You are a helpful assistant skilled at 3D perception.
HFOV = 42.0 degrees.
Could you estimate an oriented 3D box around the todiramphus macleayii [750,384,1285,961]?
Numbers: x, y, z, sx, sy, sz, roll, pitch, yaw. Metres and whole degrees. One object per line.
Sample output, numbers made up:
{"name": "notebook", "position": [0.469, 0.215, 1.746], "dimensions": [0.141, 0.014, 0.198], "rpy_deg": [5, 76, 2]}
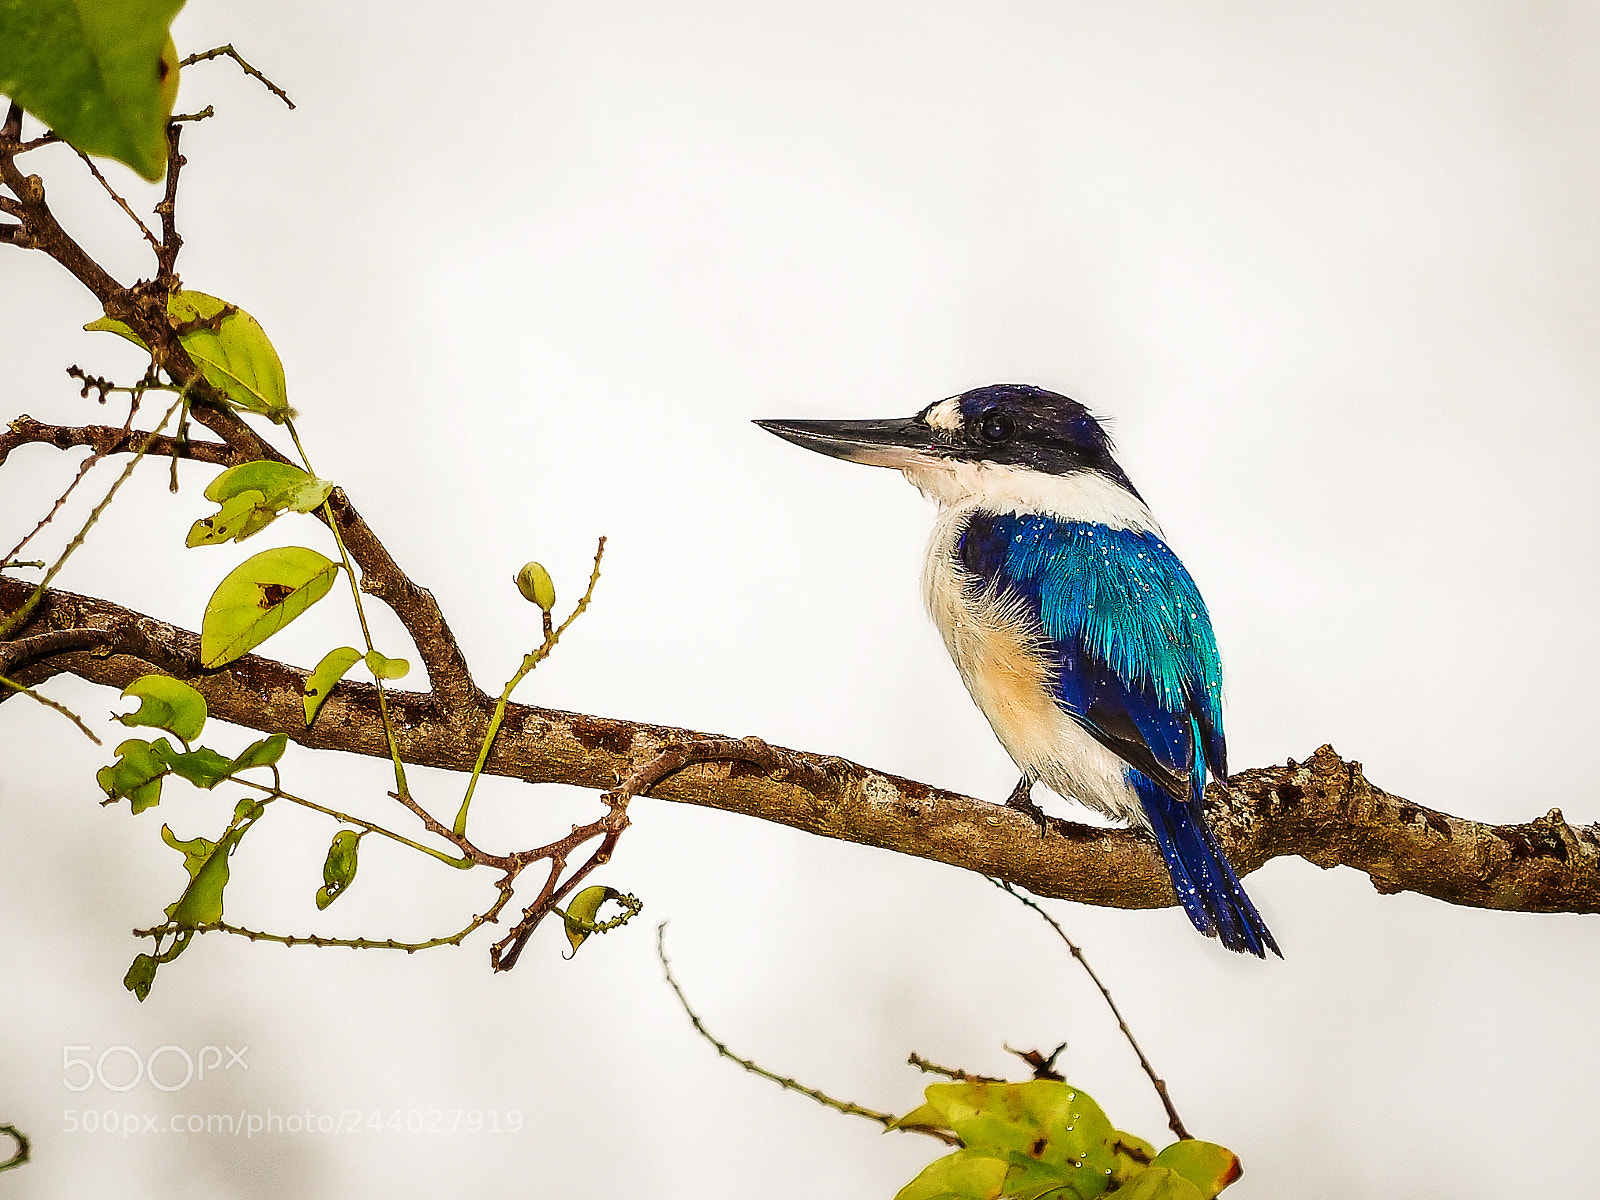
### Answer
{"name": "todiramphus macleayii", "position": [0.378, 0.033, 3.504], "dimensions": [0.877, 0.406, 0.764], "rpy_deg": [14, -88, 9]}
